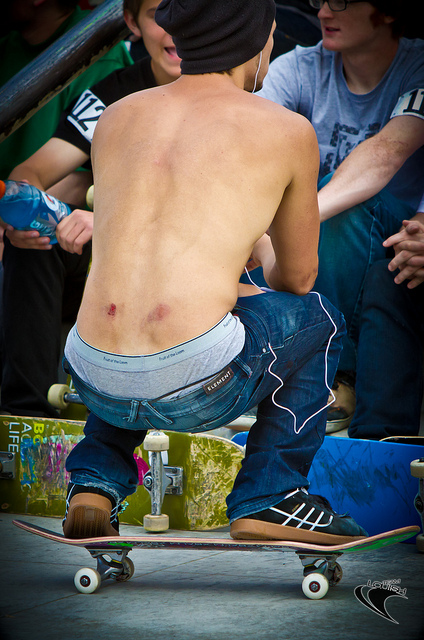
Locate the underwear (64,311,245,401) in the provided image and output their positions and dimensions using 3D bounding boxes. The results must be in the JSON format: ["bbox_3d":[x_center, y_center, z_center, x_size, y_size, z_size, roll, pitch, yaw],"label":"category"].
[{"bbox_3d":[-0.132,0.061,1.187,0.383,0.146,0.160,1,34,6],"label":"underwear"}]

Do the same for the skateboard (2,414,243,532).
[{"bbox_3d":[-0.283,0.455,1.786,0.748,0.253,0.362,2,-4,6],"label":"skateboard"}]

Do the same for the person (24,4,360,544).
[{"bbox_3d":[0.021,-0.089,1.240,0.636,0.957,0.683,5,36,13],"label":"person"}]

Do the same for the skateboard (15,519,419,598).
[{"bbox_3d":[0.020,0.518,1.292,0.873,0.131,0.209,0,-5,6],"label":"skateboard"}]
